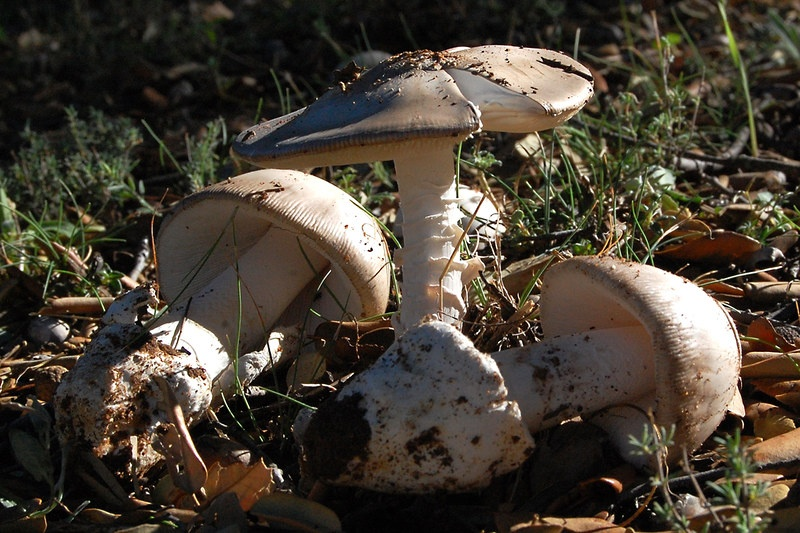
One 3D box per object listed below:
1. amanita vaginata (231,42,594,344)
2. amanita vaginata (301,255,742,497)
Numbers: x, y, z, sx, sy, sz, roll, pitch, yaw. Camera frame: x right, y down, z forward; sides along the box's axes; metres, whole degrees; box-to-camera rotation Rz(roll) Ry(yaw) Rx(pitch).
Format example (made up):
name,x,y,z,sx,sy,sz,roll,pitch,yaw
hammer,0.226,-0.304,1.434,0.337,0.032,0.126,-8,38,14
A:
name,x,y,z,sx,sy,sz,roll,pitch,yaw
amanita vaginata,0.107,-0.286,4.635,1.913,1.807,1.774,-7,13,-17
amanita vaginata,0.609,0.583,4.058,2.171,1.018,1.072,-12,38,-16
